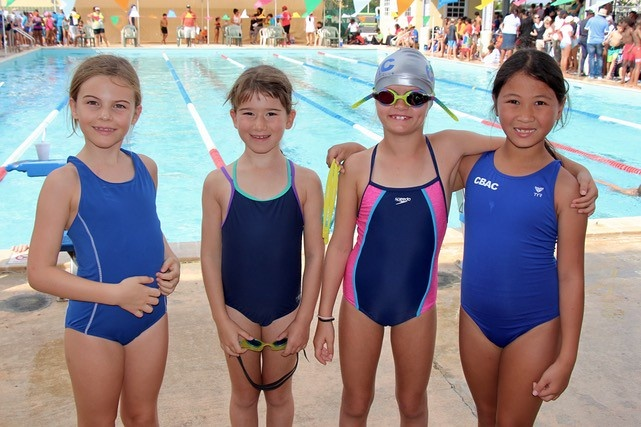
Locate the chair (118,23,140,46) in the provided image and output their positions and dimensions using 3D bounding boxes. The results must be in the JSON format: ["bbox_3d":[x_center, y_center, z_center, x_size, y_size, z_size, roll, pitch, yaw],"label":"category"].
[{"bbox_3d":[-8.856,-8.240,22.550,0.639,1.002,0.907,-7,16,-23],"label":"chair"}]

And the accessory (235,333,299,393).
[{"bbox_3d":[-0.260,0.701,2.287,0.336,0.302,0.101,-5,1,-6],"label":"accessory"}]

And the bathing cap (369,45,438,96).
[{"bbox_3d":[0.422,-0.704,2.387,0.330,0.222,0.305,4,9,-25],"label":"bathing cap"}]
